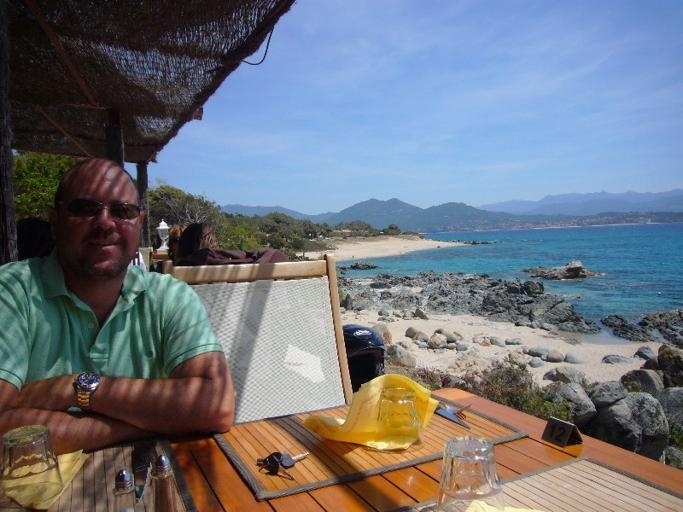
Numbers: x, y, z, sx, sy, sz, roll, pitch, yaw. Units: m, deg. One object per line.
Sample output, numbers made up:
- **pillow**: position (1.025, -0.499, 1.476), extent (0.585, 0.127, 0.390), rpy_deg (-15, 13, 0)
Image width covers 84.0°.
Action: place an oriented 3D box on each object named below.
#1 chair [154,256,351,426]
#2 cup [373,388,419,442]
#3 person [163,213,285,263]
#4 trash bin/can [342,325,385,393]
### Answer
- **chair**: position (-0.573, 0.540, 2.851), extent (0.954, 1.290, 0.965), rpy_deg (-1, -11, -22)
- **cup**: position (0.249, 0.637, 1.745), extent (0.207, 0.184, 0.204), rpy_deg (0, -6, 0)
- **person**: position (-1.165, 0.041, 3.804), extent (0.940, 0.359, 0.664), rpy_deg (1, -2, -17)
- **trash bin/can**: position (0.150, 0.870, 3.651), extent (0.516, 0.448, 0.375), rpy_deg (-6, -11, 13)
